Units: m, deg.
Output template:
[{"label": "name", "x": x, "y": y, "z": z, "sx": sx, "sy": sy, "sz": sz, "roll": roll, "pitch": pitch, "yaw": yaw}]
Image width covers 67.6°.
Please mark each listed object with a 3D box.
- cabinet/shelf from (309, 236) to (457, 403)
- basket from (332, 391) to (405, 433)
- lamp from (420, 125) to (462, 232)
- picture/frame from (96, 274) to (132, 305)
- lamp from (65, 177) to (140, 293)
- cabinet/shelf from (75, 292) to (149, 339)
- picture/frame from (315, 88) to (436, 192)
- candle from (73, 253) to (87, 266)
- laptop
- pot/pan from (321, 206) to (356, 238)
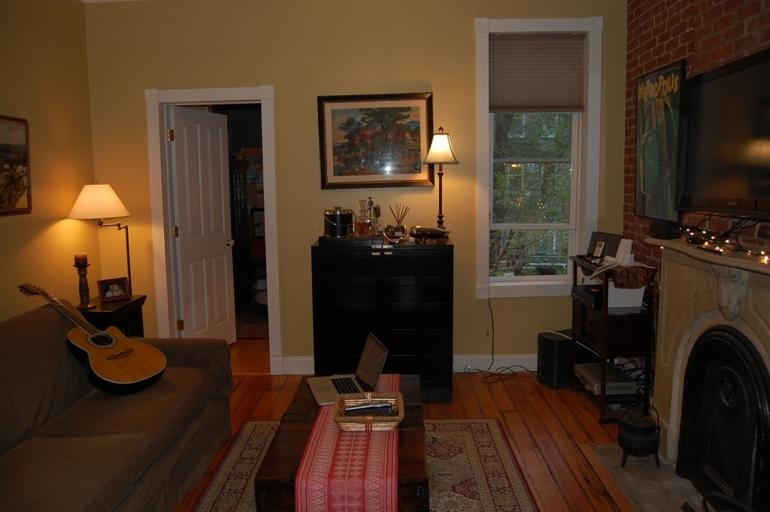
[{"label": "cabinet/shelf", "x": -0.007, "y": 0.513, "z": 4.817, "sx": 1.406, "sy": 1.607, "sz": 0.570, "roll": 0, "pitch": 4, "yaw": 2}, {"label": "basket", "x": -0.107, "y": 0.979, "z": 3.628, "sx": 0.337, "sy": 0.131, "sz": 0.217, "roll": -1, "pitch": 20, "yaw": 2}, {"label": "lamp", "x": 0.510, "y": -0.700, "z": 5.165, "sx": 0.303, "sy": 0.915, "sz": 0.504, "roll": 0, "pitch": 9, "yaw": 7}, {"label": "picture/frame", "x": -2.430, "y": 0.309, "z": 5.141, "sx": 0.235, "sy": 0.214, "sz": 0.085, "roll": -3, "pitch": -6, "yaw": -28}, {"label": "lamp", "x": -2.614, "y": -0.137, "z": 5.317, "sx": 0.508, "sy": 1.045, "sz": 0.607, "roll": -5, "pitch": 10, "yaw": -24}, {"label": "cabinet/shelf", "x": -2.380, "y": 0.478, "z": 5.041, "sx": 0.342, "sy": 0.506, "sz": 0.524, "roll": 4, "pitch": 11, "yaw": 8}, {"label": "picture/frame", "x": -0.073, "y": -1.117, "z": 5.336, "sx": 0.908, "sy": 0.714, "sz": 0.041, "roll": -1, "pitch": 3, "yaw": 2}, {"label": "candle", "x": -2.609, "y": 0.023, "z": 4.903, "sx": 0.104, "sy": 0.114, "sz": 0.101, "roll": 2, "pitch": 8, "yaw": -25}, {"label": "laptop", "x": -0.255, "y": 0.811, "z": 4.023, "sx": 0.472, "sy": 0.306, "sz": 0.493, "roll": 2, "pitch": 8, "yaw": -10}, {"label": "pot/pan", "x": -0.410, "y": -0.292, "z": 5.122, "sx": 0.271, "sy": 0.254, "sz": 0.268, "roll": 0, "pitch": 1, "yaw": 9}]
